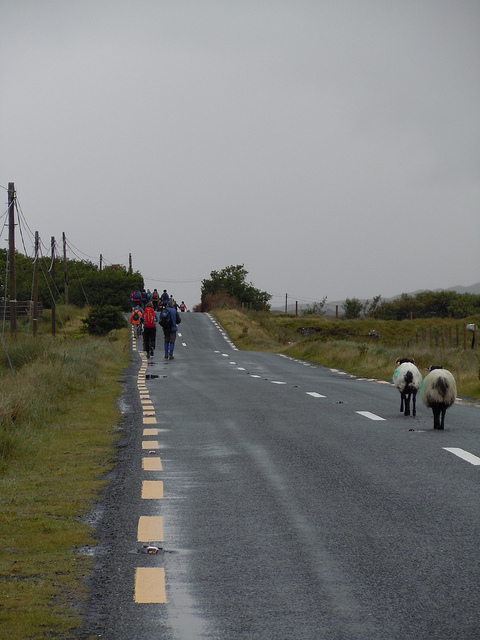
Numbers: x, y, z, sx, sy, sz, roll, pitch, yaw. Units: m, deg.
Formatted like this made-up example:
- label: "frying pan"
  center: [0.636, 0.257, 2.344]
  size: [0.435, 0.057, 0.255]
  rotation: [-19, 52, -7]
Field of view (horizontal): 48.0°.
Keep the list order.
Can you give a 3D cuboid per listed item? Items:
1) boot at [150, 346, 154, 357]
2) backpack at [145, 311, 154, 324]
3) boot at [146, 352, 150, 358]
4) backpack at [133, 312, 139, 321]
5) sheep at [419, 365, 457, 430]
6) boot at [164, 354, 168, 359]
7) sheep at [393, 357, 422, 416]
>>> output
- label: "boot"
  center: [-4.668, 1.648, 28.544]
  size: [0.129, 0.514, 0.194]
  rotation: [1, -7, -4]
- label: "backpack"
  center: [-4.599, -0.144, 27.233]
  size: [0.551, 1.026, 0.457]
  rotation: [1, 0, -11]
- label: "boot"
  center: [-4.793, 1.814, 28.081]
  size: [0.145, 0.267, 0.691]
  rotation: [0, -2, -12]
- label: "backpack"
  center: [-6.785, -0.232, 35.087]
  size: [0.366, 0.525, 0.769]
  rotation: [0, -2, -12]
- label: "sheep"
  center: [3.632, 1.420, 9.831]
  size: [0.595, 1.111, 0.671]
  rotation: [-1, -1, 22]
- label: "boot"
  center: [-3.976, 1.932, 28.900]
  size: [0.149, 0.360, 0.171]
  rotation: [2, -5, -7]
- label: "sheep"
  center: [3.729, 1.497, 12.069]
  size: [0.499, 1.272, 1.661]
  rotation: [-2, -5, 11]
